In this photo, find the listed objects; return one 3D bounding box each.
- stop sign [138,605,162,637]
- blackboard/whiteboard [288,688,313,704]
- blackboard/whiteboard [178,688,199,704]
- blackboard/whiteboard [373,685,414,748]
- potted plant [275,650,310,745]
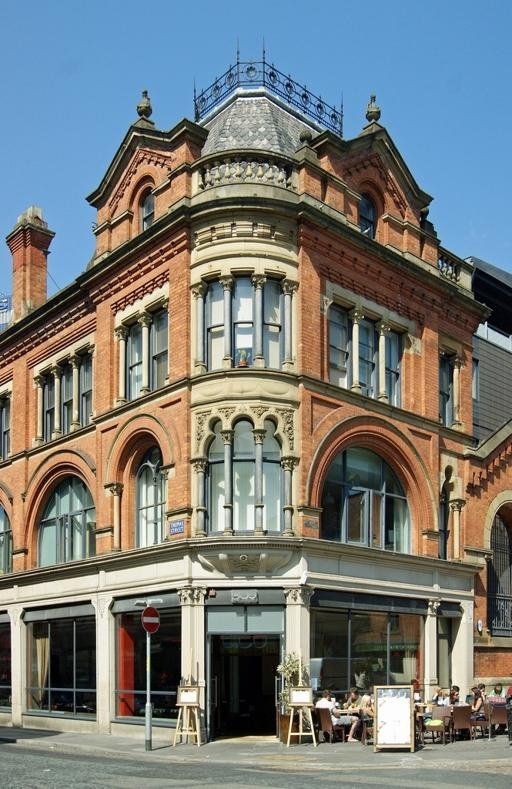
[{"bbox_3d":[-2.345,4.975,38.950,0.110,1.010,0.789,-11,-21,31],"label":"stop sign"},{"bbox_3d":[0.933,6.412,37.485,0.452,0.426,0.298,0,-18,-1],"label":"blackboard/whiteboard"},{"bbox_3d":[-1.482,6.449,37.826,0.322,0.342,0.377,-2,-2,6],"label":"blackboard/whiteboard"},{"bbox_3d":[2.769,6.595,36.290,0.758,1.240,0.921,0,-7,-13],"label":"blackboard/whiteboard"},{"bbox_3d":[0.763,6.618,38.408,0.515,1.899,0.694,2,-10,-16],"label":"potted plant"}]
